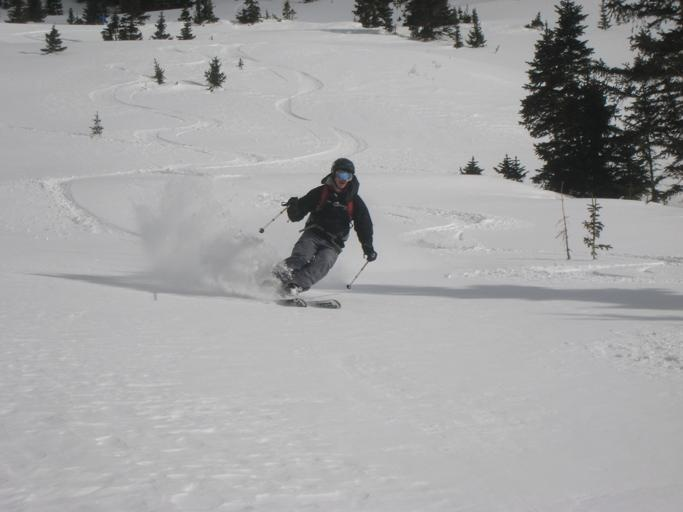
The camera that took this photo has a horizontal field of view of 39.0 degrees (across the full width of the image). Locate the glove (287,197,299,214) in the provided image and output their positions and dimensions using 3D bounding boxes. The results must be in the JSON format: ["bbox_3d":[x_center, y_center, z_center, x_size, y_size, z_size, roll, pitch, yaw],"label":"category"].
[{"bbox_3d":[-0.978,-1.047,19.492,0.252,0.283,0.201,3,13,-3],"label":"glove"}]

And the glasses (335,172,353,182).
[{"bbox_3d":[0.068,-1.581,19.227,0.234,0.177,0.233,-42,2,-4],"label":"glasses"}]

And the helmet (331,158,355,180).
[{"bbox_3d":[0.068,-1.768,19.442,0.413,0.406,0.488,10,2,-22],"label":"helmet"}]
